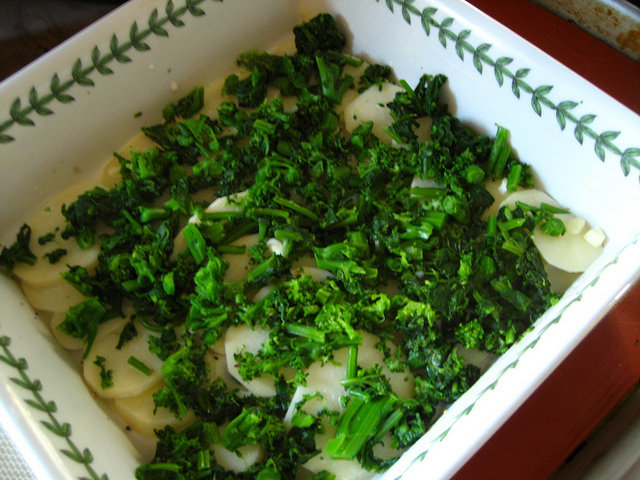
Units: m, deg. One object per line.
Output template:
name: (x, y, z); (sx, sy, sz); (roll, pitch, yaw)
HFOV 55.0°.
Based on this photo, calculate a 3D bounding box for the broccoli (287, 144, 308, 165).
broccoli: (-0.131, -0.497, 3.564); (0.115, 0.032, 0.113); (-41, 66, -18)

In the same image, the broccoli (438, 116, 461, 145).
broccoli: (0.715, -0.614, 3.521); (0.138, 0.065, 0.148); (-34, 88, -27)

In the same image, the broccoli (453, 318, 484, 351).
broccoli: (0.762, 0.510, 3.230); (0.138, 0.092, 0.159); (-16, 61, -13)

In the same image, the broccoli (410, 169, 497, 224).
broccoli: (0.786, -0.185, 3.471); (0.469, 0.587, 0.248); (-18, 94, -16)

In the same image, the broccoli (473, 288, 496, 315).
broccoli: (0.860, 0.316, 3.242); (0.057, 0.043, 0.164); (-37, 28, 20)

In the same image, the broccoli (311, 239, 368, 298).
broccoli: (0.114, 0.142, 3.221); (0.268, 0.158, 0.254); (19, 90, 11)

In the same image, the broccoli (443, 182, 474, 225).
broccoli: (0.764, -0.188, 3.365); (0.051, 0.197, 0.211); (-5, 49, 59)

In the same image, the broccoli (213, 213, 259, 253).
broccoli: (-0.513, -0.063, 3.540); (0.261, 0.236, 0.081); (24, 103, 49)

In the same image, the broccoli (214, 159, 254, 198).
broccoli: (-0.512, -0.352, 3.586); (0.195, 0.228, 0.101); (-9, 28, -19)

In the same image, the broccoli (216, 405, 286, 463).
broccoli: (-0.403, 1.004, 3.188); (0.142, 0.323, 0.184); (49, 48, -4)

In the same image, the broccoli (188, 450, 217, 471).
broccoli: (-0.609, 1.148, 3.169); (0.114, 0.097, 0.097); (-25, 56, 1)

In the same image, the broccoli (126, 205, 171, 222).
broccoli: (-0.978, -0.151, 3.518); (0.174, 0.111, 0.090); (-1, 63, -11)

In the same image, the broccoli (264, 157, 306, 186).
broccoli: (-0.211, -0.369, 3.551); (0.170, 0.105, 0.153); (12, 56, -14)

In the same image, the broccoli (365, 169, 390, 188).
broccoli: (0.324, -0.351, 3.487); (0.117, 0.098, 0.037); (-34, 34, -6)

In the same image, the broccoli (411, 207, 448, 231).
broccoli: (0.602, -0.113, 3.400); (0.173, 0.073, 0.113); (22, 96, 16)

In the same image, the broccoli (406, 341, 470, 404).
broccoli: (0.618, 0.669, 3.182); (0.142, 0.312, 0.289); (-9, 39, -41)

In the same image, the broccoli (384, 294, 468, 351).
broccoli: (0.542, 0.427, 3.307); (0.309, 0.157, 0.352); (-27, 87, 26)

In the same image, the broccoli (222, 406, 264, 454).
broccoli: (-0.408, 0.987, 3.166); (0.244, 0.066, 0.191); (-28, 56, -32)

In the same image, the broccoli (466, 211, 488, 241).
broccoli: (0.864, -0.073, 3.426); (0.100, 0.037, 0.157); (13, 83, 5)

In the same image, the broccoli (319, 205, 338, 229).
broccoli: (0.043, -0.140, 3.447); (0.109, 0.031, 0.124); (-9, 68, 42)

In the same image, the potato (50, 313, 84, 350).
potato: (-1.441, 0.509, 3.466); (0.200, 0.250, 0.099); (21, 63, -2)

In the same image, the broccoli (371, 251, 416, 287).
broccoli: (0.388, 0.146, 3.371); (0.187, 0.082, 0.196); (-30, 40, -9)

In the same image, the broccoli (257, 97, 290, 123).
broccoli: (-0.275, -0.757, 3.597); (0.150, 0.083, 0.154); (43, 33, -5)

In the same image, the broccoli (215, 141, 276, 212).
broccoli: (-0.418, -0.355, 3.613); (0.374, 0.158, 0.385); (-35, 87, -27)

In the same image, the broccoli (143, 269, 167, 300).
broccoli: (-0.890, 0.239, 3.308); (0.057, 0.115, 0.149); (-32, 56, -6)

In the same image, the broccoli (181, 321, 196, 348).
broccoli: (-0.717, 0.519, 3.333); (0.071, 0.088, 0.138); (14, 24, -20)

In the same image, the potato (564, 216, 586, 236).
potato: (1.355, -0.073, 3.289); (0.092, 0.054, 0.083); (16, 66, 24)

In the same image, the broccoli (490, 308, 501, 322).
broccoli: (0.917, 0.397, 3.212); (0.045, 0.065, 0.017); (1, 59, -10)

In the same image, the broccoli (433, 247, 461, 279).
broccoli: (0.686, 0.128, 3.333); (0.128, 0.042, 0.144); (-39, 84, -13)

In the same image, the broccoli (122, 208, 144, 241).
broccoli: (-1.072, -0.082, 3.491); (0.077, 0.066, 0.143); (-62, 38, 23)

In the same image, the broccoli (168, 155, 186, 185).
broccoli: (-0.857, -0.405, 3.673); (0.084, 0.040, 0.188); (-1, 84, -7)

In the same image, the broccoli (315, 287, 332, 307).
broccoli: (0.006, 0.306, 3.296); (0.080, 0.079, 0.102); (17, 80, -28)

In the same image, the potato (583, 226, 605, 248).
potato: (1.447, -0.011, 3.238); (0.097, 0.047, 0.095); (-26, 57, 1)

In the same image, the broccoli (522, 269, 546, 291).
broccoli: (1.141, 0.215, 3.280); (0.089, 0.032, 0.108); (4, 89, 28)

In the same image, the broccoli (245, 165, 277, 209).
broccoli: (-0.335, -0.274, 3.493); (0.194, 0.120, 0.206); (-31, 68, 8)

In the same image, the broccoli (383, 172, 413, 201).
broccoli: (0.440, -0.302, 3.497); (0.045, 0.043, 0.164); (36, 73, 18)
